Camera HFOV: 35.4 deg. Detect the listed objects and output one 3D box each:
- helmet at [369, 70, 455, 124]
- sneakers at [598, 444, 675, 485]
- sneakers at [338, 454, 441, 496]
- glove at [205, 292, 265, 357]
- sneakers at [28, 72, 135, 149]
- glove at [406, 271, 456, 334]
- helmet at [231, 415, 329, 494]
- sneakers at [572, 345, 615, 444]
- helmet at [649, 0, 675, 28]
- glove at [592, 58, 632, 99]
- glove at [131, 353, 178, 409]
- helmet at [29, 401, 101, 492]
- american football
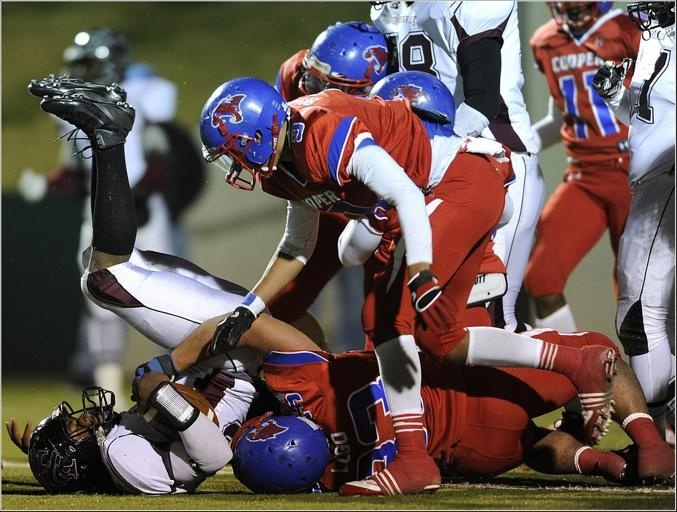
[{"bbox_3d":[0.308,-0.674,4.369,0.314,0.236,0.256,5,-7,-6],"label":"helmet"},{"bbox_3d":[1.134,0.791,3.990,0.241,0.143,0.109,-1,-8,17],"label":"sneakers"},{"bbox_3d":[0.200,0.820,3.983,0.379,0.159,0.140,-2,-17,7],"label":"sneakers"},{"bbox_3d":[-0.377,0.253,4.048,0.320,0.108,0.126,-49,9,-23],"label":"glove"},{"bbox_3d":[-1.007,-0.545,4.176,0.350,0.269,0.180,22,-18,-7],"label":"sneakers"},{"bbox_3d":[0.335,0.169,3.866,0.152,0.250,0.106,-38,27,-32],"label":"glove"},{"bbox_3d":[-0.223,0.706,3.935,0.345,0.251,0.273,2,5,-7],"label":"helmet"},{"bbox_3d":[0.971,0.512,3.981,0.123,0.360,0.158,-1,3,-3],"label":"sneakers"},{"bbox_3d":[1.400,-1.036,4.620,0.115,0.114,0.087,-2,-2,-12],"label":"helmet"},{"bbox_3d":[1.207,-0.807,4.753,0.196,0.149,0.088,-48,23,-3],"label":"glove"},{"bbox_3d":[-0.691,0.455,3.940,0.191,0.139,0.071,-38,-36,21],"label":"glove"},{"bbox_3d":[-1.035,0.705,4.076,0.268,0.353,0.260,1,-8,-41],"label":"helmet"},{"bbox_3d":[-0.595,0.541,3.917,0.090,0.247,0.174,-56,-5,-41],"label":"american football"}]
